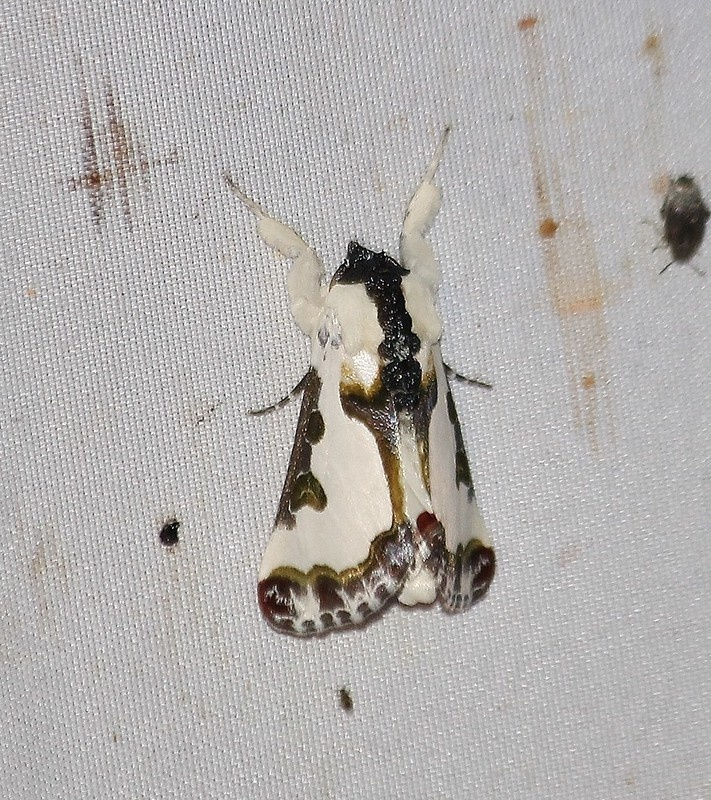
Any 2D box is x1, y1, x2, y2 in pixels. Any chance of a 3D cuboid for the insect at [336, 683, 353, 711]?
[{"bbox_3d":[-0.023,0.618,2.670,0.028,0.018,0.048,-18,-67,2],"label":"insect"}]
